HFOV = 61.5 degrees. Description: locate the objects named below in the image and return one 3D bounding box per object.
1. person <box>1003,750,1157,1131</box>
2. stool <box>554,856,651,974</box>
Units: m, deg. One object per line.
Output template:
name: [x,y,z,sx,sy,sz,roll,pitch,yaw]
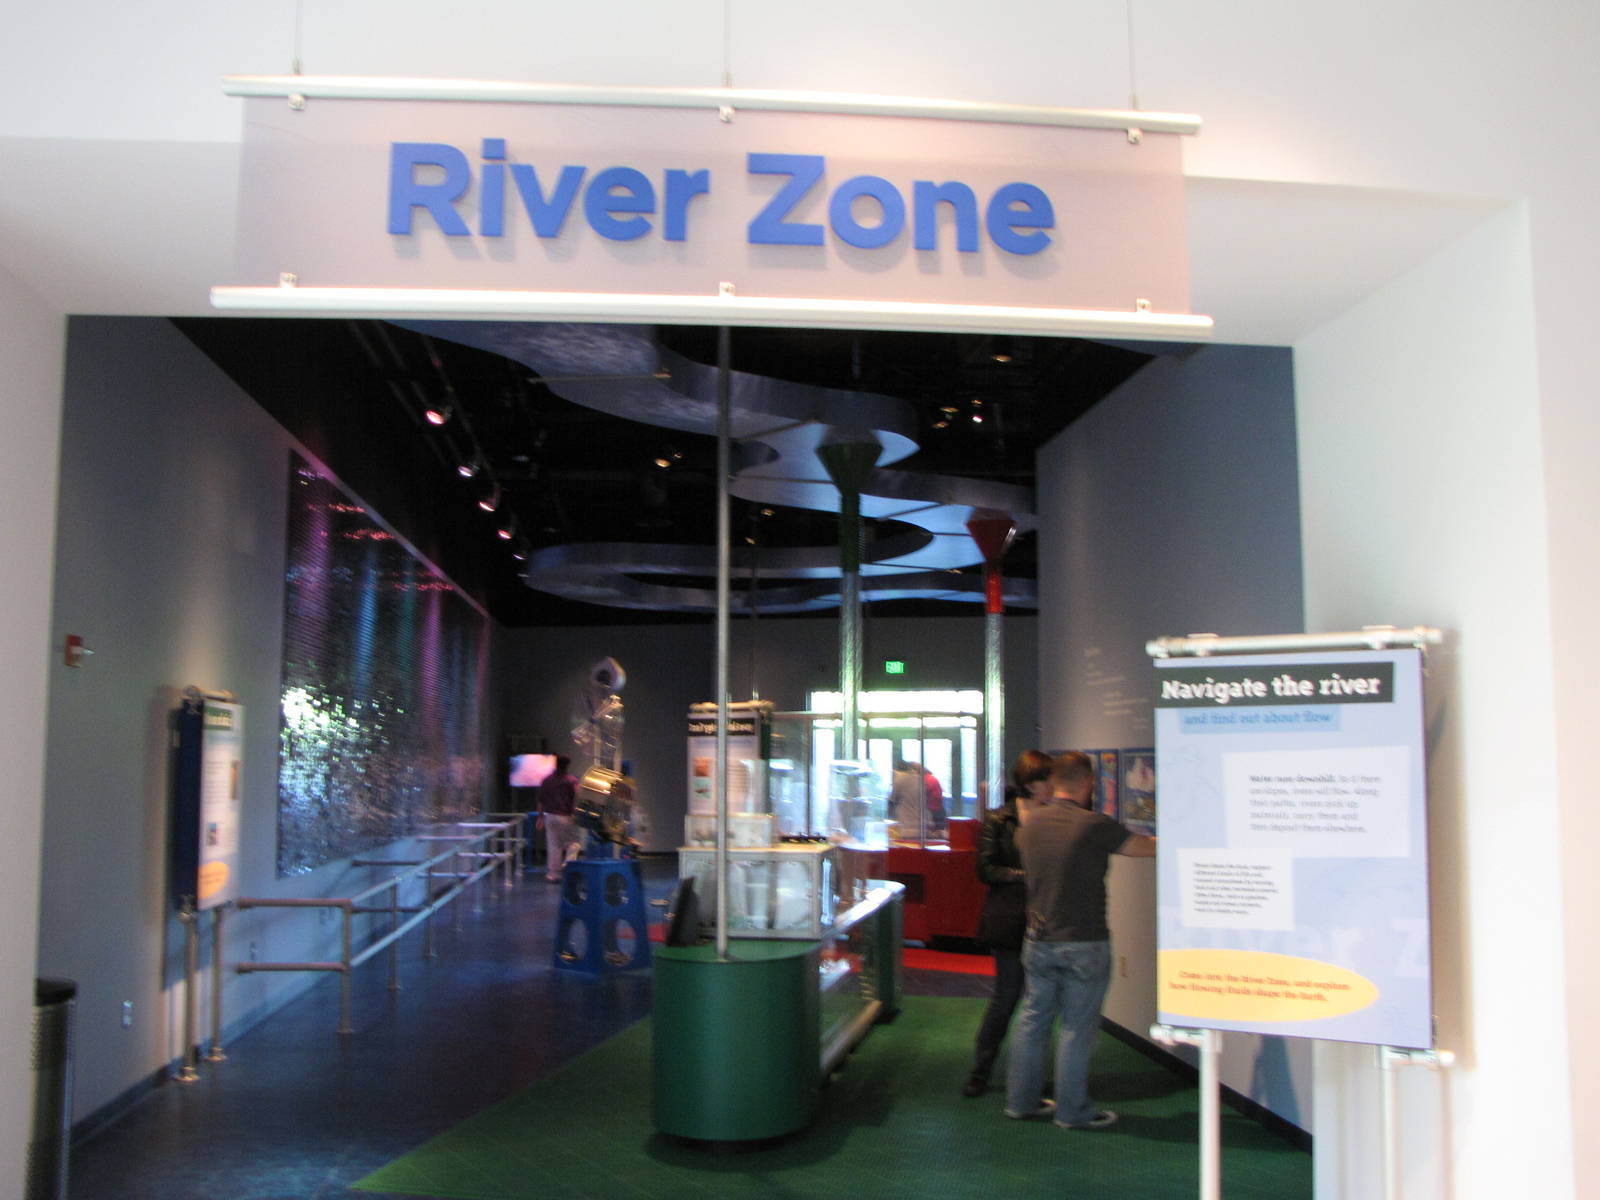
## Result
person: [1.348,1.645,6.659,0.731,1.806,0.456,-3,-6,30]
stool: [-1.627,2.460,10.878,0.690,0.833,0.921,3,-6,-27]
